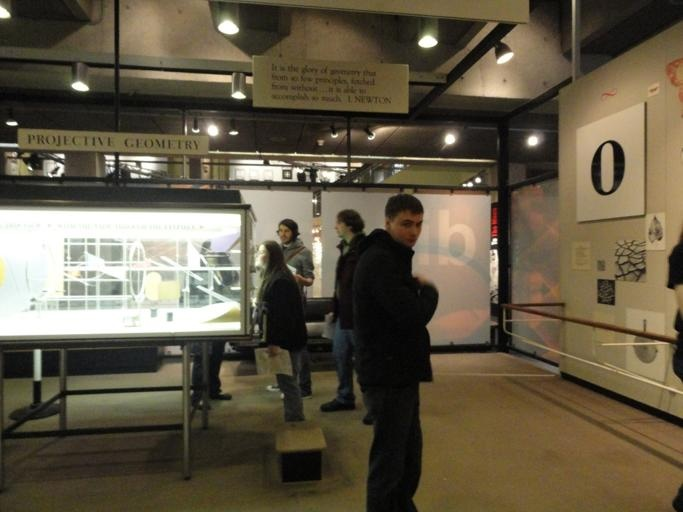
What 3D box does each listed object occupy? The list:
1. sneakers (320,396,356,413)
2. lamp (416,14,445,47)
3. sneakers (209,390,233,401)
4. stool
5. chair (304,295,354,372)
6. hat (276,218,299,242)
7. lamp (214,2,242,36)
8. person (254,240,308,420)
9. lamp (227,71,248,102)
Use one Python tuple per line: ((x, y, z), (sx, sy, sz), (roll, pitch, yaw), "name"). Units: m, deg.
((-0.045, 1.619, 6.616), (0.368, 0.165, 0.141), (3, -5, -4), "sneakers")
((0.938, -2.456, 6.573), (0.193, 0.354, 0.352), (-1, 2, 3), "lamp")
((-1.376, 1.592, 6.929), (0.260, 0.115, 0.096), (0, -3, -12), "sneakers")
((-0.365, 1.730, 5.392), (0.388, 0.268, 0.410), (-2, 11, -7), "stool")
((-0.165, 1.026, 8.432), (1.040, 0.777, 0.768), (0, -7, -3), "chair")
((-0.630, -0.309, 7.129), (0.211, 0.261, 0.259), (0, -6, 12), "hat")
((-1.202, -2.543, 6.319), (0.201, 0.354, 0.480), (-2, 2, -7), "lamp")
((-0.609, 0.776, 6.081), (0.490, 1.867, 0.398), (-1, 1, -5), "person")
((-1.275, -2.128, 7.503), (0.169, 0.315, 0.344), (-2, 2, -13), "lamp")
